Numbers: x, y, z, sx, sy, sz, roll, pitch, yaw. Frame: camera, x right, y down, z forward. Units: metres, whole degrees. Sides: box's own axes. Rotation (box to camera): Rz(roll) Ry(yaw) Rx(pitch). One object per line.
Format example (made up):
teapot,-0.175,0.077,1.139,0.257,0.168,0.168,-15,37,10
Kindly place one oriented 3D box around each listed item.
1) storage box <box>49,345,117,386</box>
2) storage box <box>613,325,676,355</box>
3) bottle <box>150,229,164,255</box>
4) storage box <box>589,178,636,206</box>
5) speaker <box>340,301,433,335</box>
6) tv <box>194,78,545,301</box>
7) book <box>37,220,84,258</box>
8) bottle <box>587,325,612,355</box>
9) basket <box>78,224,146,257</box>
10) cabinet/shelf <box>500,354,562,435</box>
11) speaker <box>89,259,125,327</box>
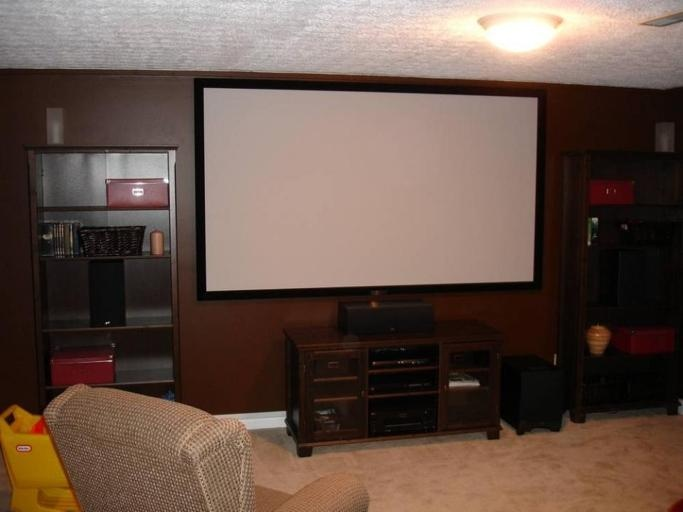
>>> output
storage box,-1.991,0.772,4.564,0.401,0.194,0.283,0,2,-16
storage box,2.587,0.646,5.049,0.371,0.180,0.269,-1,4,-12
bottle,-1.457,-0.113,4.650,0.120,0.178,0.316,-4,11,-17
storage box,2.240,-0.525,4.961,0.496,0.208,0.151,-5,12,-25
speaker,0.360,0.495,4.630,0.723,0.258,0.230,-1,4,-6
tv,0.304,-0.530,4.861,2.992,1.738,0.058,-1,6,-12
book,-2.131,-0.121,4.561,0.338,0.334,0.243,0,2,-7
bottle,2.185,0.718,5.034,0.232,0.247,0.232,1,1,2
basket,-1.751,-0.110,4.479,0.350,0.164,0.252,1,1,-14
cabinet/shelf,1.550,1.132,4.833,0.417,0.523,0.347,-2,11,-10
speaker,-1.779,0.287,4.610,0.357,0.519,0.350,-1,0,-26
